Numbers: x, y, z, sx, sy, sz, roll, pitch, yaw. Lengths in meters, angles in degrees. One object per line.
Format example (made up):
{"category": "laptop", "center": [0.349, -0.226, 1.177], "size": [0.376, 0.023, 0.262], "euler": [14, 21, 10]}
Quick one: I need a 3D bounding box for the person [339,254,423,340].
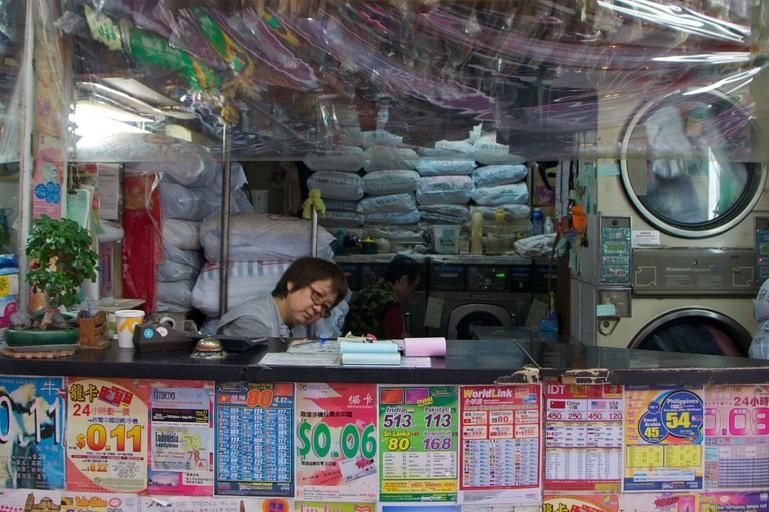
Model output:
{"category": "person", "center": [-0.008, 0.284, 6.358], "size": [0.512, 0.580, 1.052], "euler": [-1, -6, 3]}

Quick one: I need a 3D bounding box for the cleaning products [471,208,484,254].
{"category": "cleaning products", "center": [0.799, -0.210, 7.891], "size": [0.117, 0.444, 0.412], "euler": [-1, -6, 6]}

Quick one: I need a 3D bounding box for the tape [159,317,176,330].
{"category": "tape", "center": [-0.999, 0.313, 4.221], "size": [0.072, 0.067, 0.041], "euler": [6, 3, 8]}

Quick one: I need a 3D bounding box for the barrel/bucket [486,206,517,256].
{"category": "barrel/bucket", "center": [1.109, -0.231, 8.149], "size": [0.232, 0.380, 0.227], "euler": [-17, 7, 2]}

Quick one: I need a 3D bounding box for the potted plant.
{"category": "potted plant", "center": [-1.463, 0.109, 4.062], "size": [0.347, 0.578, 0.219], "euler": [-3, -7, 20]}

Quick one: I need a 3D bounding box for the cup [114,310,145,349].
{"category": "cup", "center": [-1.163, 0.338, 4.218], "size": [0.120, 0.175, 0.128], "euler": [-1, -6, 0]}

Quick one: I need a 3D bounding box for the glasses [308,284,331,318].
{"category": "glasses", "center": [-0.317, 0.238, 4.697], "size": [0.048, 0.155, 0.149], "euler": [-41, -21, -20]}
